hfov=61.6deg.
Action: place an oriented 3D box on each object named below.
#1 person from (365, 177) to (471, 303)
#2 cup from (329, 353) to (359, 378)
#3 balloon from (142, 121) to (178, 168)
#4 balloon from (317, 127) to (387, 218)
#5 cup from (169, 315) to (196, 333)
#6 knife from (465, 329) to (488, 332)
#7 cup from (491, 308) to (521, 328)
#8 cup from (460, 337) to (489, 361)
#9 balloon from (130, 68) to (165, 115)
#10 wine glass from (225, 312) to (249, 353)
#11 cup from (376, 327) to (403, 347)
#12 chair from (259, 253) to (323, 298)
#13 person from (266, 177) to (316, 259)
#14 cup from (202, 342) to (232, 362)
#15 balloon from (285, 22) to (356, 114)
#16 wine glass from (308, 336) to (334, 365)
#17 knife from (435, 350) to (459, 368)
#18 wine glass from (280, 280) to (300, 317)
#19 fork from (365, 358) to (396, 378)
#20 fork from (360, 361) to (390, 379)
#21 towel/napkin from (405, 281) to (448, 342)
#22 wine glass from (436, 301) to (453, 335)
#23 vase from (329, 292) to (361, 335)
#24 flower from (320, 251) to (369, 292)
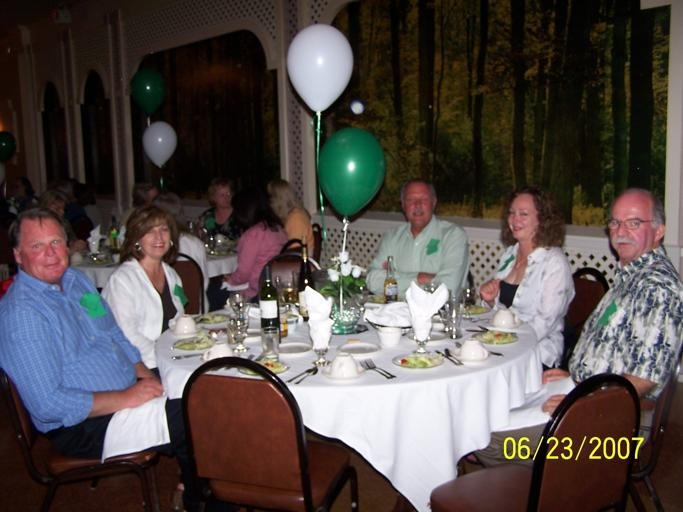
[{"bbox_3d":[0.571,0.012,4.681,0.803,1.293,0.685,5,7,18],"label":"person"},{"bbox_3d":[0.017,0.533,2.884,0.110,0.100,0.120,-1,4,0],"label":"cup"},{"bbox_3d":[-2.581,-1.613,8.404,0.508,0.745,0.544,0,2,-7],"label":"balloon"},{"bbox_3d":[0.051,-0.617,4.273,0.467,0.673,0.510,5,1,-7],"label":"balloon"},{"bbox_3d":[-0.960,0.418,3.468,0.128,0.111,0.105,0,3,-1],"label":"cup"},{"bbox_3d":[0.823,0.447,3.438,0.115,0.007,0.038,-2,15,44],"label":"knife"},{"bbox_3d":[1.006,0.369,3.500,0.113,0.061,0.115,-2,2,0],"label":"cup"},{"bbox_3d":[0.694,0.487,2.995,0.124,0.101,0.105,4,-8,-4],"label":"cup"},{"bbox_3d":[-2.827,-2.424,8.375,0.428,0.624,0.392,3,8,33],"label":"balloon"},{"bbox_3d":[-0.566,0.432,3.195,0.145,0.186,0.157,-1,11,6],"label":"wine glass"},{"bbox_3d":[0.268,0.453,3.190,0.101,0.076,0.106,-1,0,0],"label":"cup"},{"bbox_3d":[-0.406,0.126,4.319,0.346,0.381,0.369,0,14,7],"label":"chair"},{"bbox_3d":[-0.598,-0.397,6.049,0.368,0.378,1.239,-10,30,16],"label":"person"},{"bbox_3d":[-0.643,0.496,2.990,0.131,0.135,0.106,-9,11,-4],"label":"cup"},{"bbox_3d":[-0.111,-1.500,4.721,0.544,0.801,0.588,2,12,8],"label":"balloon"},{"bbox_3d":[-0.109,0.491,3.068,0.109,0.182,0.115,-1,1,39],"label":"wine glass"},{"bbox_3d":[0.572,0.547,3.051,0.037,0.020,0.148,-13,12,-13],"label":"knife"},{"bbox_3d":[-0.349,0.302,3.874,0.119,0.211,0.120,-11,18,-31],"label":"wine glass"},{"bbox_3d":[0.196,0.603,2.933,0.054,0.033,0.205,-26,34,-26],"label":"fork"},{"bbox_3d":[0.174,0.580,2.928,0.051,0.030,0.195,-25,26,-22],"label":"fork"},{"bbox_3d":[0.476,0.321,3.216,0.231,0.397,0.243,8,13,37],"label":"towel/napkin"},{"bbox_3d":[0.620,0.375,3.418,0.121,0.220,0.138,-2,-4,-9],"label":"wine glass"},{"bbox_3d":[0.036,0.353,3.443,0.196,0.137,0.189,1,1,42],"label":"vase"},{"bbox_3d":[0.007,0.103,3.502,0.262,0.294,0.393,-1,7,-2],"label":"flower"}]
